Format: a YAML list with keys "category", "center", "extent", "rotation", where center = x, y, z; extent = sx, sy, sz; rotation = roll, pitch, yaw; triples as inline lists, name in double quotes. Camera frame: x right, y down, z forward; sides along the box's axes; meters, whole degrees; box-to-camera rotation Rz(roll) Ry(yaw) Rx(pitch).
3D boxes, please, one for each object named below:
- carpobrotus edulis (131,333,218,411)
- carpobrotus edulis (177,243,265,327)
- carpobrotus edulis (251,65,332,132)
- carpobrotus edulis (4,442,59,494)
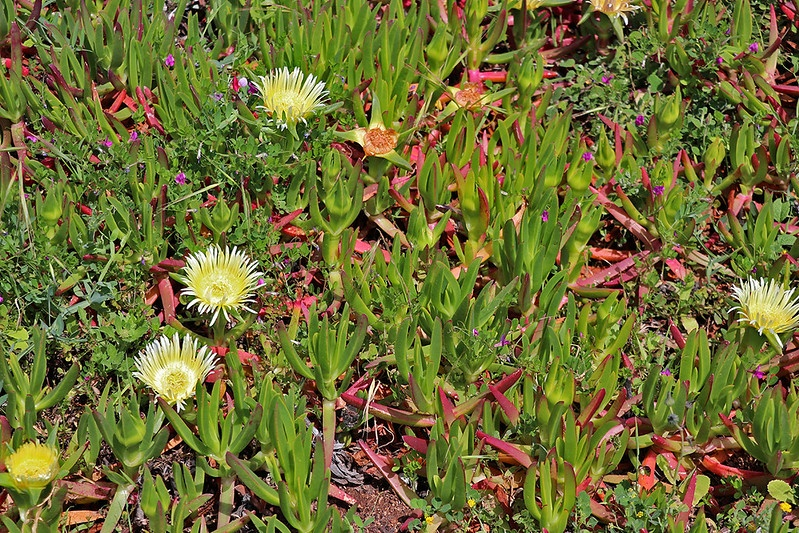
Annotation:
- category: "carpobrotus edulis"
  center: [-0.789, 0.346, 2.536]
  extent: [0.289, 0.287, 0.150]
  rotation: [18, 102, 25]
- category: "carpobrotus edulis"
  center: [-0.649, 0.050, 2.663]
  extent: [0.282, 0.127, 0.310]
  rotation: [-25, 78, -14]
- category: "carpobrotus edulis"
  center: [-0.430, -0.710, 2.963]
  extent: [0.275, 0.131, 0.276]
  rotation: [-35, 83, -24]
- category: "carpobrotus edulis"
  center: [-1.182, 0.649, 2.396]
  extent: [0.152, 0.105, 0.133]
  rotation: [-26, 56, -10]
